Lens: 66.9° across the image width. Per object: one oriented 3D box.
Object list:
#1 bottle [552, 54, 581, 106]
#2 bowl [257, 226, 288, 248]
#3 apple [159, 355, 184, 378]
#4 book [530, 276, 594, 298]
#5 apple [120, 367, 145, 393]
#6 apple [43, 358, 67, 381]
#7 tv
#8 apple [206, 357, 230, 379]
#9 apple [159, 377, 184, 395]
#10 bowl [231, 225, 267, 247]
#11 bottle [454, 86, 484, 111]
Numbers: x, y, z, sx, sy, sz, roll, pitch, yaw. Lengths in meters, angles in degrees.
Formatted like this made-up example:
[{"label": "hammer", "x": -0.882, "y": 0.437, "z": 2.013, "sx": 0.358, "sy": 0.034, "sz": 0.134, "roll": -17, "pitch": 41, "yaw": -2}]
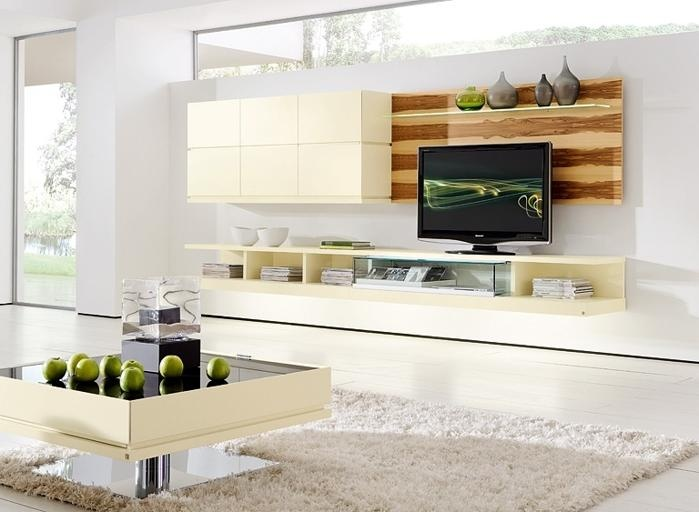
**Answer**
[{"label": "bottle", "x": 1.862, "y": -1.496, "z": 4.519, "sx": 0.225, "sy": 0.404, "sz": 0.168, "roll": 1, "pitch": 0, "yaw": 10}, {"label": "bowl", "x": -0.819, "y": -0.201, "z": 5.682, "sx": 0.273, "sy": 0.129, "sz": 0.247, "roll": -1, "pitch": -8, "yaw": -7}, {"label": "apple", "x": -0.664, "y": 0.417, "z": 2.031, "sx": 0.092, "sy": 0.079, "sz": 0.091, "roll": -16, "pitch": 7, "yaw": -32}, {"label": "book", "x": 1.831, "y": 0.271, "z": 4.427, "sx": 0.523, "sy": 0.159, "sz": 0.250, "roll": 1, "pitch": 0, "yaw": -22}, {"label": "apple", "x": -0.725, "y": 0.422, "z": 1.814, "sx": 0.083, "sy": 0.072, "sz": 0.081, "roll": 3, "pitch": 6, "yaw": 32}, {"label": "apple", "x": -1.079, "y": 0.415, "z": 1.953, "sx": 0.092, "sy": 0.090, "sz": 0.083, "roll": 3, "pitch": -4, "yaw": -19}, {"label": "tv", "x": 1.241, "y": -0.532, "z": 4.735, "sx": 1.255, "sy": 0.813, "sz": 0.338, "roll": 0, "pitch": 1, "yaw": 30}, {"label": "apple", "x": -0.484, "y": 0.411, "z": 1.987, "sx": 0.086, "sy": 0.075, "sz": 0.081, "roll": 5, "pitch": 8, "yaw": 32}, {"label": "apple", "x": -0.623, "y": 0.455, "z": 1.847, "sx": 0.064, "sy": 0.048, "sz": 0.060, "roll": 0, "pitch": 0, "yaw": -34}, {"label": "bowl", "x": -1.133, "y": -0.218, "z": 5.840, "sx": 0.279, "sy": 0.163, "sz": 0.286, "roll": 1, "pitch": -6, "yaw": 0}, {"label": "bottle", "x": 1.101, "y": -1.441, "z": 4.918, "sx": 0.254, "sy": 0.189, "sz": 0.261, "roll": 0, "pitch": 4, "yaw": 0}]
